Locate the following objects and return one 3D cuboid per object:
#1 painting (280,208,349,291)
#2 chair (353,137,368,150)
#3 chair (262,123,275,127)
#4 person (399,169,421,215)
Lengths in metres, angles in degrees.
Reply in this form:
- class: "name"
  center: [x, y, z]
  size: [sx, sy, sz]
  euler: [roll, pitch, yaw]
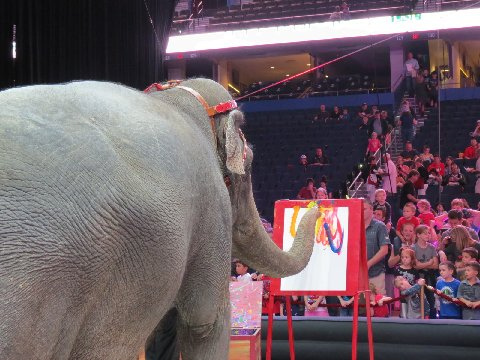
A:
- class: "painting"
  center: [0.570, 0.518, 4.333]
  size: [0.624, 0.803, 0.065]
  euler: [2, 19, 7]
- class: "chair"
  center: [3.397, -1.091, 16.217]
  size: [0.290, 0.448, 0.175]
  euler: [-7, -25, 21]
- class: "chair"
  center: [0.931, -1.947, 19.948]
  size: [0.571, 0.107, 0.145]
  euler: [1, 6, 23]
- class: "person"
  center: [2.748, 0.181, 9.279]
  size: [0.324, 0.761, 1.394]
  euler: [0, -2, 17]
